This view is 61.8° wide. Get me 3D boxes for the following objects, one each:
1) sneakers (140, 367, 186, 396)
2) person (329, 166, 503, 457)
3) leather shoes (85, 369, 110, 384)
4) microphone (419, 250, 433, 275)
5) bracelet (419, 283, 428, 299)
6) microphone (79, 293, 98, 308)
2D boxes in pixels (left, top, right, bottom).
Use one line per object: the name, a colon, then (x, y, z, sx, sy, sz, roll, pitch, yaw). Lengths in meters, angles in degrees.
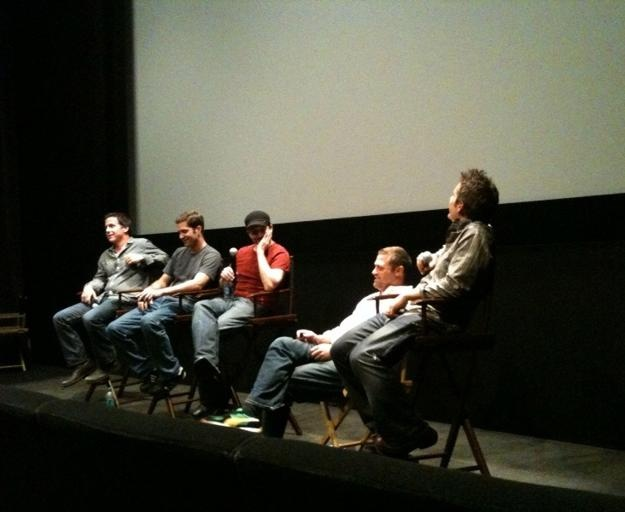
sneakers: (-1.041, 0.884, 3.678, 0.326, 0.141, 0.176, -5, 11, -20)
person: (0.529, 0.243, 2.557, 0.804, 1.284, 0.504, -9, 9, -33)
leather shoes: (-1.663, 0.919, 4.016, 0.096, 0.074, 0.176, -1, -9, 11)
microphone: (0.656, 0.036, 3.010, 0.049, 0.119, 0.089, 9, -27, 16)
bracelet: (0.527, 0.163, 2.497, 0.032, 0.067, 0.053, 2, -15, 4)
microphone: (-1.912, 0.375, 4.441, 0.124, 0.066, 0.161, 2, -3, -32)
